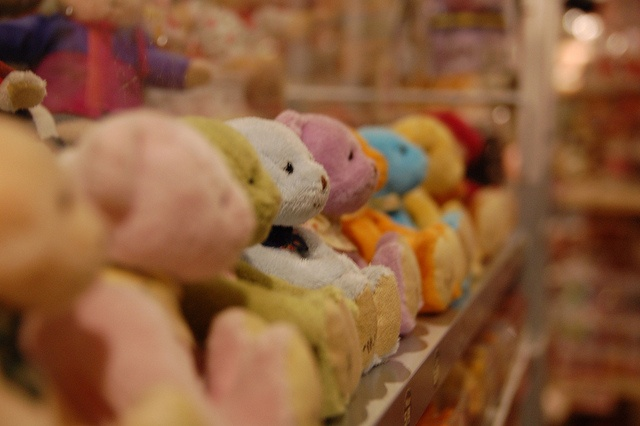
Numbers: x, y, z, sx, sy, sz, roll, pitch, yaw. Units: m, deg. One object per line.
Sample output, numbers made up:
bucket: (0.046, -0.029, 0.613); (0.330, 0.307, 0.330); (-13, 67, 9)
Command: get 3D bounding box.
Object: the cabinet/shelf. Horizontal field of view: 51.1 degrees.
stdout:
cabinet/shelf: (-0.014, 0.080, 1.025); (0.453, 0.681, 0.510); (-26, 0, 13)
